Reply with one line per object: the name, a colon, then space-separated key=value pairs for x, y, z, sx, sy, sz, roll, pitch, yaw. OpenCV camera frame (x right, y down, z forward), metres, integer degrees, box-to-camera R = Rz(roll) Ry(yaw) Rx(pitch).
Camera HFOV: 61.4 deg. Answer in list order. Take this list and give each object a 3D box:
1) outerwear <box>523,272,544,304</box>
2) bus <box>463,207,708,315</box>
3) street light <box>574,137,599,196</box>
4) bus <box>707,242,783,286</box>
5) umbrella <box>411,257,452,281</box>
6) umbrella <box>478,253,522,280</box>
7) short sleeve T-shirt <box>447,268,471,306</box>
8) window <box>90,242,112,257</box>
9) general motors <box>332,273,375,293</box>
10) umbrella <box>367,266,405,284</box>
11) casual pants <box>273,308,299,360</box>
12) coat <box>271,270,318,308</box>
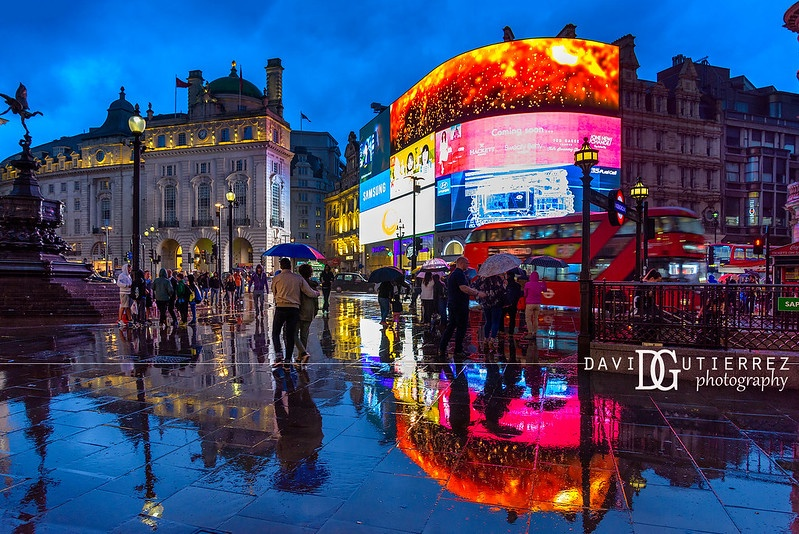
outerwear: x=4.090 y=0.657 z=20.310 sx=0.590 sy=0.886 sz=0.798 roll=-2 pitch=-1 yaw=11
bus: x=6.759 y=-0.380 z=30.889 sx=4.452 sy=5.208 sz=13.276 roll=-1 pitch=0 yaw=-42
street light: x=5.000 y=-2.767 z=17.893 sx=0.500 sy=1.367 sz=1.948 roll=-2 pitch=-1 yaw=16
bus: x=17.711 y=-0.134 z=34.475 sx=5.080 sy=2.362 sz=1.690 roll=5 pitch=-5 yaw=-20
umbrella: x=1.287 y=-0.032 z=23.362 sx=0.953 sy=0.462 sz=0.958 roll=4 pitch=-12 yaw=-28
umbrella: x=2.628 y=0.087 z=18.190 sx=0.760 sy=0.356 sz=0.765 roll=-4 pitch=26 yaw=47
short sleeve T-shirt: x=1.528 y=0.540 z=17.259 sx=0.583 sy=1.013 sz=1.123 roll=-2 pitch=2 yaw=-13
window: x=-34.324 y=-2.047 z=77.256 sx=1.642 sy=1.322 sz=0.190 roll=8 pitch=18 yaw=19
general motors: x=-3.456 y=1.222 z=49.323 sx=2.855 sy=1.145 sz=1.447 roll=-3 pitch=-2 yaw=28
umbrella: x=-0.457 y=0.293 z=26.253 sx=1.208 sy=0.400 sz=1.217 roll=-4 pitch=-1 yaw=26
casual pants: x=-2.804 y=1.649 z=16.610 sx=0.631 sy=0.965 sz=0.929 roll=-2 pitch=-1 yaw=-11
coat: x=-2.575 y=0.538 z=16.425 sx=1.145 sy=0.938 sz=0.811 roll=2 pitch=10 yaw=21
